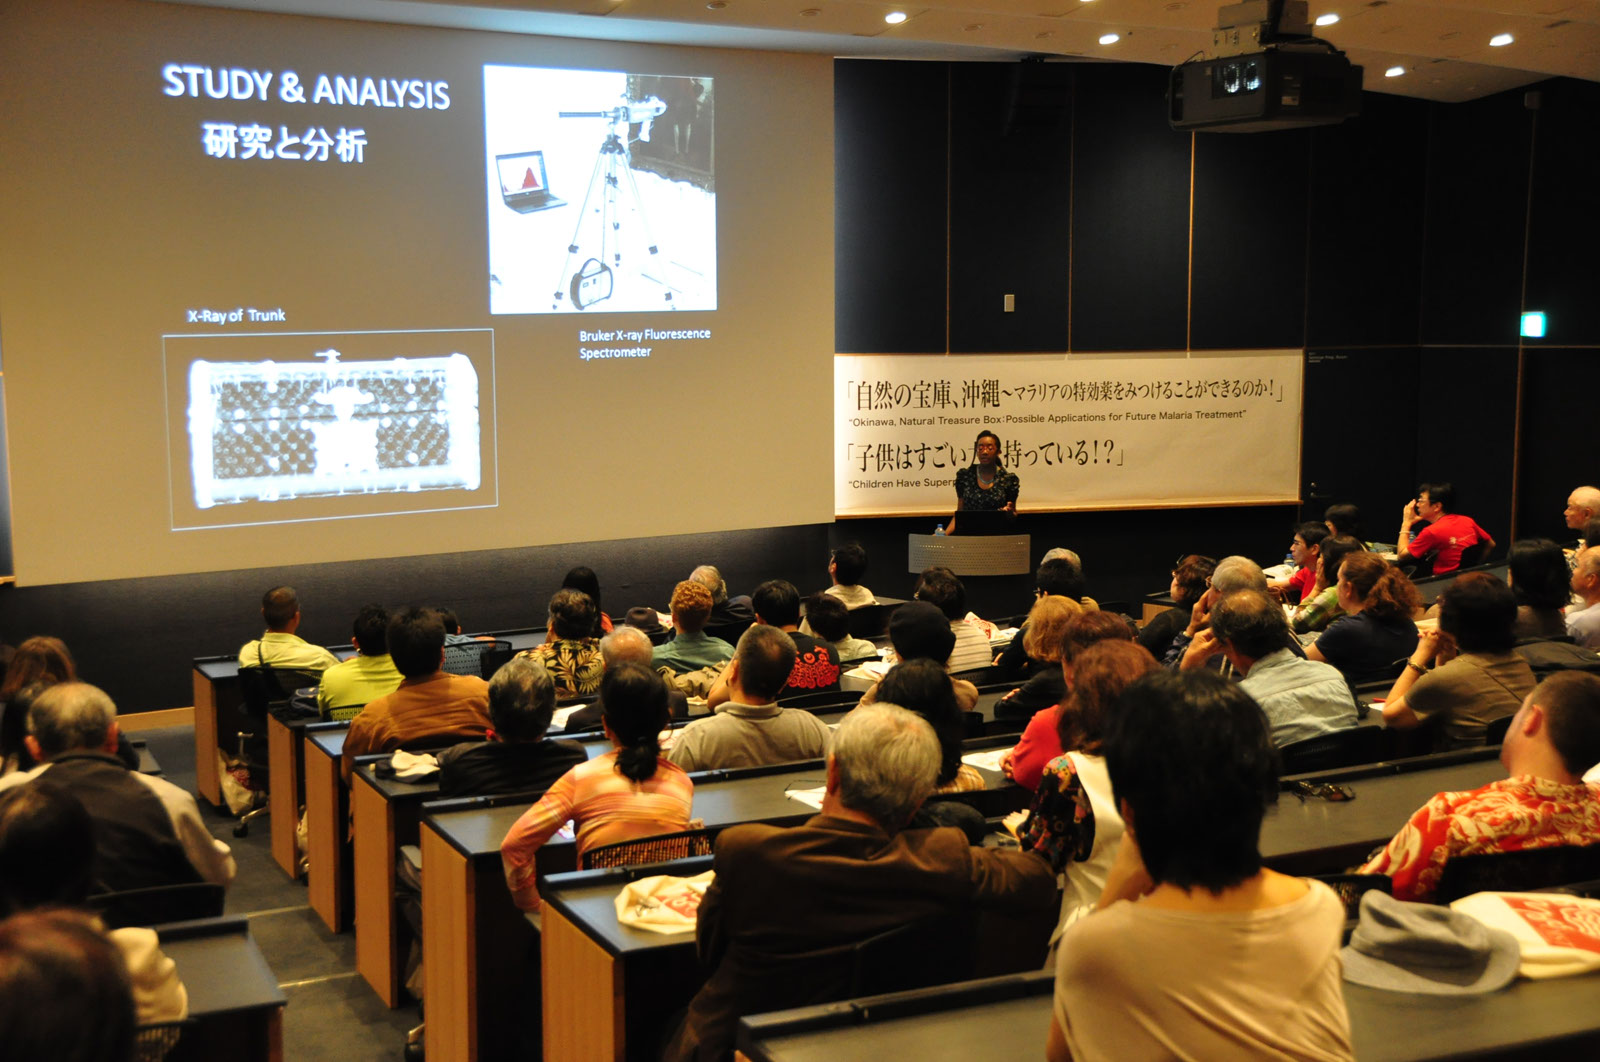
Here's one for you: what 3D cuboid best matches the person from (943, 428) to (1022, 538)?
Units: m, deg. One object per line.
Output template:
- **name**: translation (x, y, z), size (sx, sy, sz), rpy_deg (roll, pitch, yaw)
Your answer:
- **person**: translation (1.291, -0.341, 8.824), size (0.549, 0.729, 0.515), rpy_deg (4, 11, 6)
